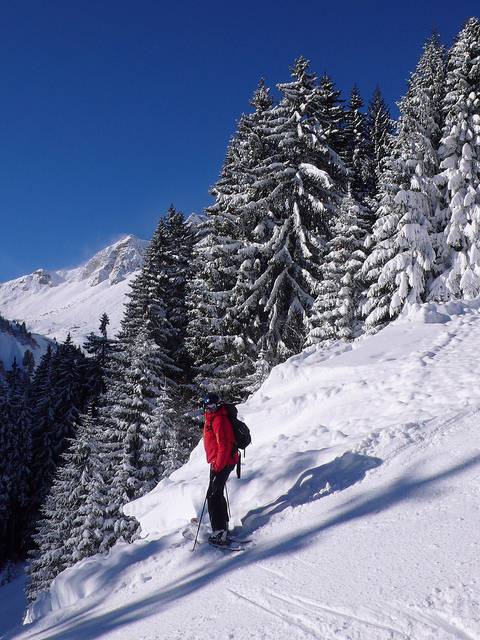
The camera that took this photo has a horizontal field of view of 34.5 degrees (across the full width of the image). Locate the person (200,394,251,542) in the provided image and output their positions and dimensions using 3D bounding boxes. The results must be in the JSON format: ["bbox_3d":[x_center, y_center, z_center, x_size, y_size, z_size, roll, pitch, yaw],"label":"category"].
[{"bbox_3d":[-0.202,2.145,11.345,0.632,2.115,0.447,-4,-5,-4],"label":"person"}]

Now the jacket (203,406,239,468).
[{"bbox_3d":[-0.301,1.729,11.538,0.469,0.931,0.838,-7,6,-11],"label":"jacket"}]

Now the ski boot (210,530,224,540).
[{"bbox_3d":[-0.327,3.107,11.110,0.161,0.122,0.108,8,-44,-1],"label":"ski boot"}]

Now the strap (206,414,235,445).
[{"bbox_3d":[-0.280,1.608,11.391,0.081,0.326,0.332,-44,-4,-31],"label":"strap"}]
